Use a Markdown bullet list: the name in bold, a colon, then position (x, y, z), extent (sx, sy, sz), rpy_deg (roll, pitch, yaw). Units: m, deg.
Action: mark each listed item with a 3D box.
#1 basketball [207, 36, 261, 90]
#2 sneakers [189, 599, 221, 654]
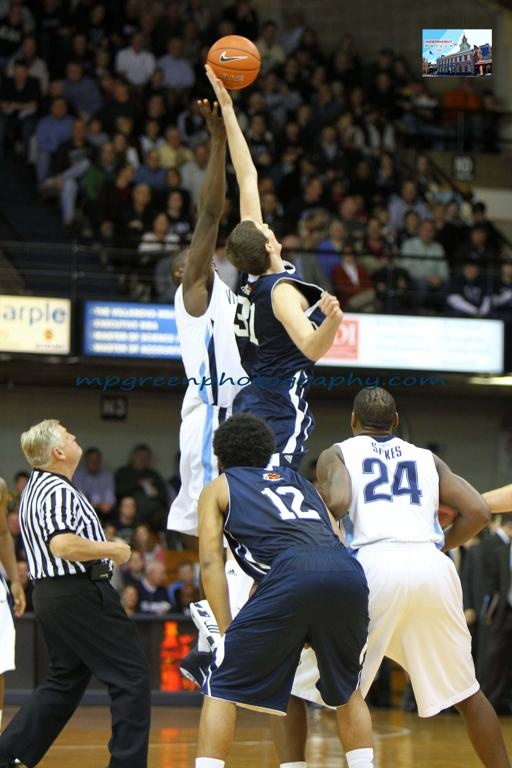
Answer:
- **basketball**: position (-0.117, -1.780, 6.703), extent (0.292, 0.292, 0.289), rpy_deg (24, 37, 36)
- **sneakers**: position (-0.226, 1.101, 5.563), extent (0.079, 0.287, 0.141), rpy_deg (-10, -10, -34)
